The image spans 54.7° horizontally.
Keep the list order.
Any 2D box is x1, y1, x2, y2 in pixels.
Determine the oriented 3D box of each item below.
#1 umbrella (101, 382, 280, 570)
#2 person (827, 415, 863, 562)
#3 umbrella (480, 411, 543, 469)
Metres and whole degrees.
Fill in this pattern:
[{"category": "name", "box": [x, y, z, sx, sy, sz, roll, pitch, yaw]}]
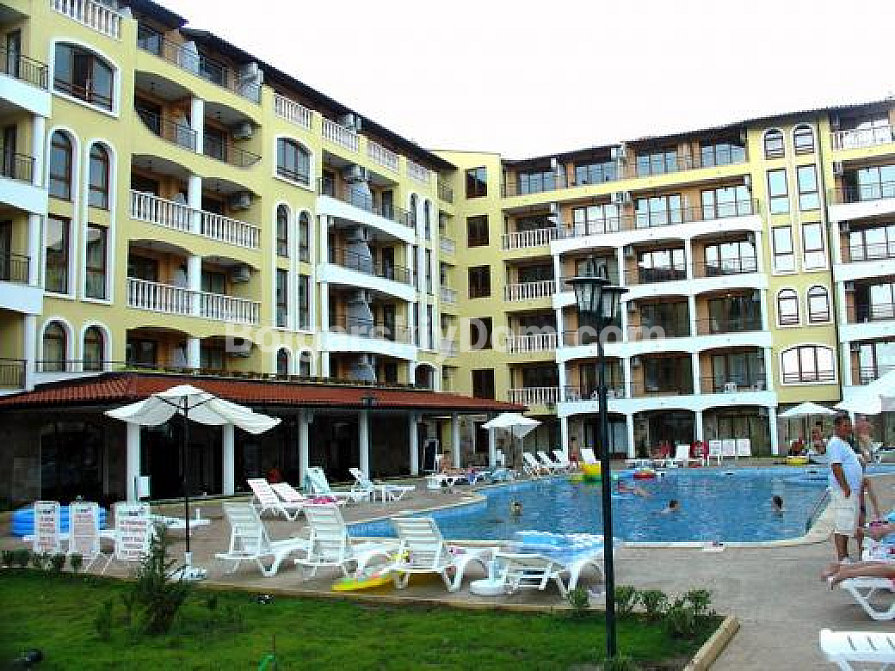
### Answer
[{"category": "umbrella", "box": [-7.117, 3.616, 23.250, 3.913, 3.670, 4.211, -5, -8, 13]}, {"category": "person", "box": [6.843, 2.599, 14.806, 0.636, 2.432, 0.815, -4, -6, 29]}, {"category": "umbrella", "box": [2.405, 3.742, 36.541, 2.581, 1.918, 2.757, 0, -5, 18]}]
